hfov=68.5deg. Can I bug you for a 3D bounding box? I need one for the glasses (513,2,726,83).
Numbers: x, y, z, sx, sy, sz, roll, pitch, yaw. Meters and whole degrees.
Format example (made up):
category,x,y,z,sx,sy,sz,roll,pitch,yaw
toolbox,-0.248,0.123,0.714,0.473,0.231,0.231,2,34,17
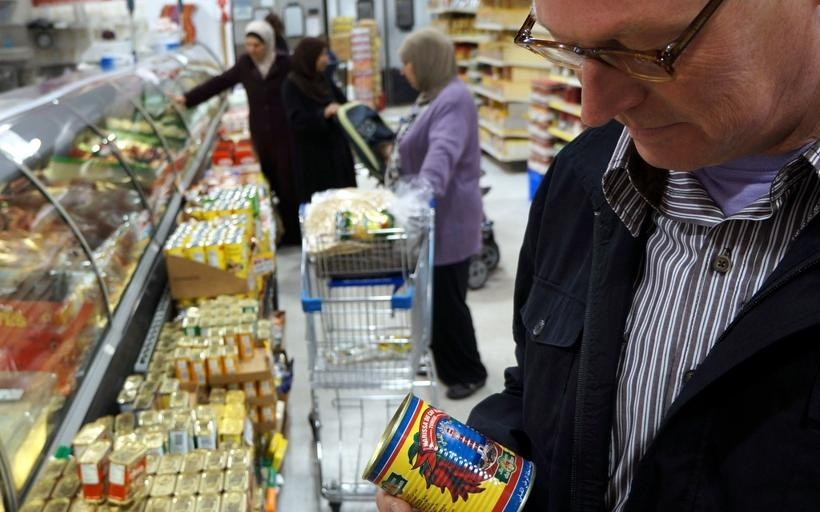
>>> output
category,x,y,z,sx,sy,sz,roll,pitch,yaw
glasses,0.391,-0.380,1.150,0.234,0.062,0.232,27,71,36
